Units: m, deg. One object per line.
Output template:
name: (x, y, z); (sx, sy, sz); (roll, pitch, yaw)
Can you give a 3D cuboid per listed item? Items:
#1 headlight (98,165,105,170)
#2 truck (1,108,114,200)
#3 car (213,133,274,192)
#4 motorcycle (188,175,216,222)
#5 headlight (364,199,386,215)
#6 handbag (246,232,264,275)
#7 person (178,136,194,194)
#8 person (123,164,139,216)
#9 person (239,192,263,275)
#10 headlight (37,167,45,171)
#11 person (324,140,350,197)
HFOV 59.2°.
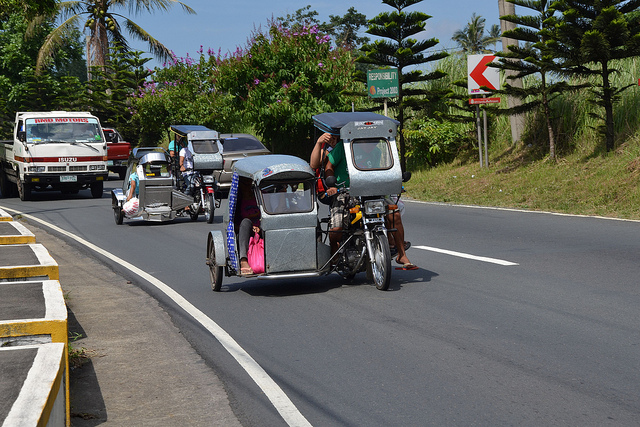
headlight: (-8.287, -1.764, 21.472); (0.236, 0.180, 0.041); (-7, 10, -30)
truck: (-10.602, -2.400, 22.704); (2.348, 2.468, 4.579); (-3, 2, -30)
car: (-2.939, -1.781, 20.504); (1.650, 2.058, 1.948); (-2, 9, -1)
motorcycle: (-3.209, -0.435, 15.697); (0.648, 1.251, 1.293); (-9, 11, -37)
headlight: (0.791, -0.101, 8.227); (0.246, 0.190, 0.192); (-2, -4, -8)
handbag: (-0.961, 0.583, 8.340); (0.245, 0.551, 0.420); (-3, 9, -8)
person: (-3.819, -1.359, 16.218); (0.346, 1.548, 0.747); (-5, 10, -20)
person: (-5.098, -0.603, 15.328); (0.483, 1.258, 0.656); (-4, 9, -14)
person: (-1.062, 0.282, 8.586); (0.392, 1.261, 0.399); (-3, 12, -26)
headlight: (-10.193, -1.633, 20.702); (0.230, 0.127, 0.031); (-6, 10, -21)
person: (0.265, -0.657, 8.458); (0.347, 0.899, 0.770); (0, 5, 19)
